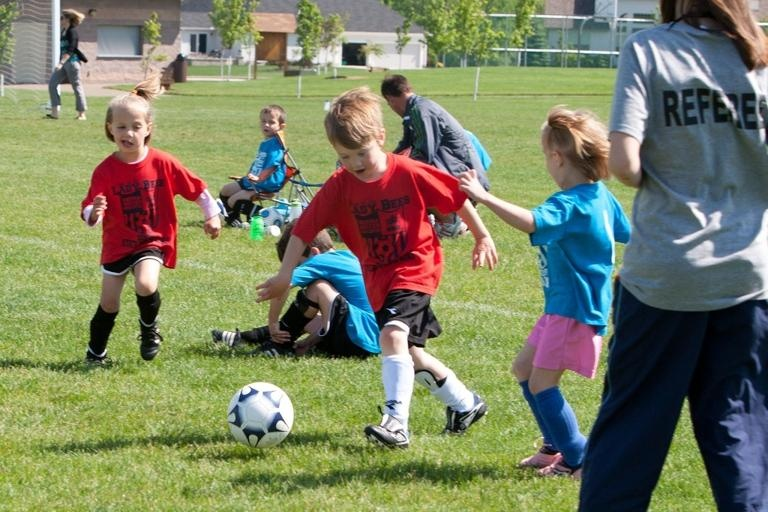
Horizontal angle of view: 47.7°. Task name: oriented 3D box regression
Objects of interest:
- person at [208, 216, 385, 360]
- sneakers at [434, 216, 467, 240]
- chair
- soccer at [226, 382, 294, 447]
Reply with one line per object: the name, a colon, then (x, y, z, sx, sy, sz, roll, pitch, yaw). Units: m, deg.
person: (-0.699, 0.288, 6.564, 1.402, 0.976, 0.714, -3, -8, 6)
sneakers: (0.663, -0.282, 9.258, 0.171, 0.198, 0.525, 7, 7, 42)
chair: (-1.561, -0.747, 10.218, 0.903, 0.754, 0.690, 8, 5, -21)
soccer: (-0.772, 0.980, 5.203, 0.398, 0.355, 0.400, 10, 2, 28)
